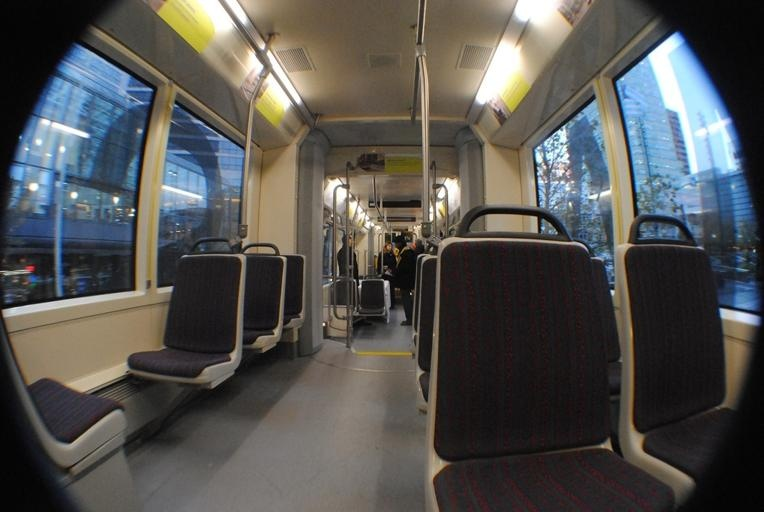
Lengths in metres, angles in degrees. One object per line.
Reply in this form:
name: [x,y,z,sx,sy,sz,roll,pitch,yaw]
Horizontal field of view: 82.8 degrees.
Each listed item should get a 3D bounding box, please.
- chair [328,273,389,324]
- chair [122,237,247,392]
chair: [-0.295,0.657,6.303,0.823,0.552,0.798,1,2,-5]
chair: [-1.478,0.431,3.358,0.827,0.955,0.854,2,0,41]
